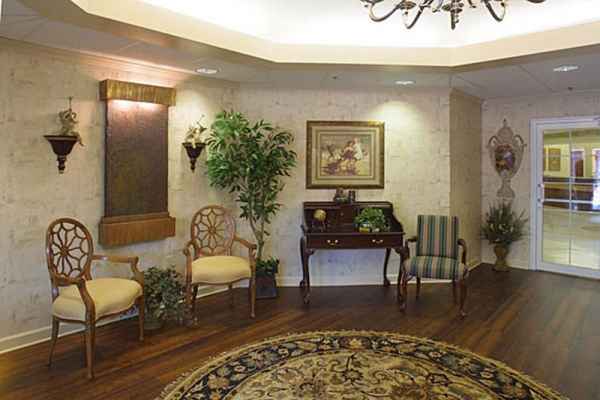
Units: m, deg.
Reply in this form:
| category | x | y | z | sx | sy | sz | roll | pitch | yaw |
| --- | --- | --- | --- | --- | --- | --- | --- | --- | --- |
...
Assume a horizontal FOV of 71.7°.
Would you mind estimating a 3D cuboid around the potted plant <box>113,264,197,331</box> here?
| category | x | y | z | sx | sy | sz | roll | pitch | yaw |
| --- | --- | --- | --- | --- | --- | --- | --- | --- | --- |
| potted plant | -1.822 | 1.254 | 5.573 | 0.972 | 0.829 | 0.803 | 3 | 12 | 20 |

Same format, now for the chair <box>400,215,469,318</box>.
| category | x | y | z | sx | sy | sz | roll | pitch | yaw |
| --- | --- | --- | --- | --- | --- | --- | --- | --- | --- |
| chair | 1.982 | 0.875 | 5.977 | 0.926 | 1.261 | 1.007 | 3 | 5 | 34 |

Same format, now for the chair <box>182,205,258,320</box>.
| category | x | y | z | sx | sy | sz | roll | pitch | yaw |
| --- | --- | --- | --- | --- | --- | --- | --- | --- | --- |
| chair | -1.213 | 0.862 | 5.921 | 1.032 | 1.367 | 0.995 | -6 | 10 | -40 |

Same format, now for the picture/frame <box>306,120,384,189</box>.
| category | x | y | z | sx | sy | sz | roll | pitch | yaw |
| --- | --- | --- | --- | --- | --- | --- | --- | --- | --- |
| picture/frame | 0.681 | -0.792 | 6.842 | 1.164 | 0.952 | 0.050 | 0 | -2 | -6 |

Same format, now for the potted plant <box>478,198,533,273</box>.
| category | x | y | z | sx | sy | sz | roll | pitch | yaw |
| --- | --- | --- | --- | --- | --- | --- | --- | --- | --- |
| potted plant | 3.833 | 0.644 | 7.909 | 0.785 | 1.296 | 0.757 | 4 | -11 | 27 |

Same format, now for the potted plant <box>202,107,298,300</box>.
| category | x | y | z | sx | sy | sz | roll | pitch | yaw |
| --- | --- | --- | --- | --- | --- | --- | --- | --- | --- |
| potted plant | -0.689 | 0.096 | 6.566 | 1.396 | 2.668 | 1.115 | -4 | 1 | 28 |

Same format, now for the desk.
| category | x | y | z | sx | sy | sz | roll | pitch | yaw |
| --- | --- | --- | --- | --- | --- | --- | --- | --- | --- |
| desk | 0.793 | 0.756 | 6.571 | 1.455 | 1.344 | 0.894 | 0 | 8 | 1 |
